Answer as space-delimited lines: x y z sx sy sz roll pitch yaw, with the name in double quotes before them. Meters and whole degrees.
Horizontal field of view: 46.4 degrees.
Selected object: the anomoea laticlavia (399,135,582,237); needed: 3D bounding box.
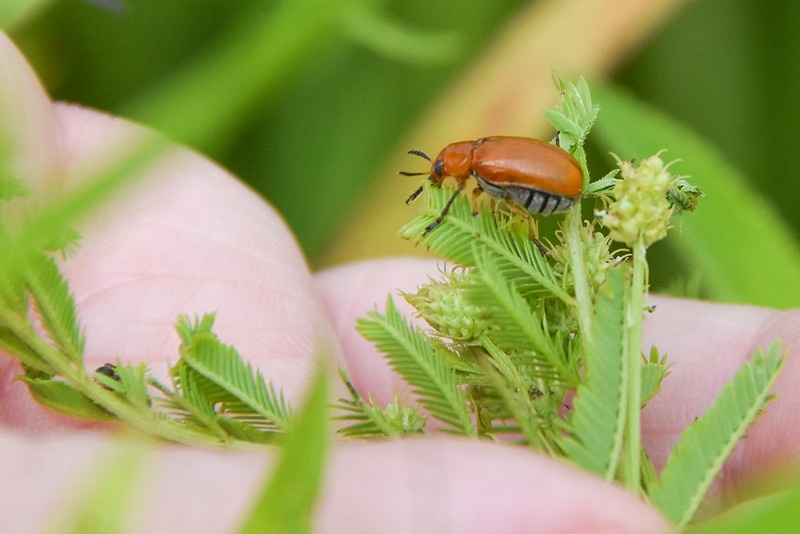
"anomoea laticlavia" 0.105 -0.110 1.070 0.211 0.082 0.213 4 25 11
